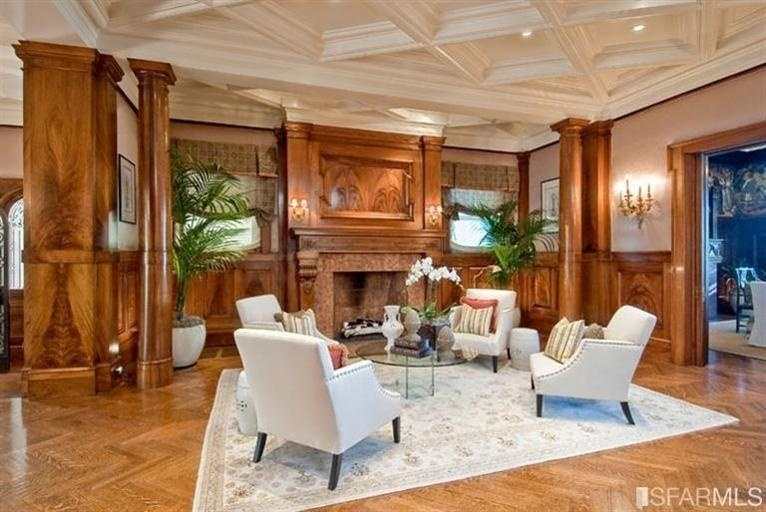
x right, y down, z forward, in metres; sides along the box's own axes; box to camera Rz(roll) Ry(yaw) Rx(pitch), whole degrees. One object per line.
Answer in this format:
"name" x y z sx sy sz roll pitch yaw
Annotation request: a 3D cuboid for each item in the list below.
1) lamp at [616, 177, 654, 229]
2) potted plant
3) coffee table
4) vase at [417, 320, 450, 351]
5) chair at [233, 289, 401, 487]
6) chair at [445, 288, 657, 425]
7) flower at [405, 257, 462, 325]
"lamp" 3.731 -0.806 7.534 0.201 0.752 0.593 -1 3 -25
"potted plant" -2.479 -0.025 7.496 1.189 3.132 1.858 0 3 -22
"coffee table" 0.341 1.406 6.141 0.871 0.302 0.852 -3 4 -37
"vase" 0.622 0.960 6.236 0.357 0.344 0.352 -1 -1 42
"chair" -0.797 1.294 5.359 1.290 1.752 1.638 1 2 37
"chair" 2.255 1.095 5.916 1.322 1.294 1.258 2 0 11
"flower" 0.629 0.423 6.602 0.735 0.726 0.608 -3 8 -38
